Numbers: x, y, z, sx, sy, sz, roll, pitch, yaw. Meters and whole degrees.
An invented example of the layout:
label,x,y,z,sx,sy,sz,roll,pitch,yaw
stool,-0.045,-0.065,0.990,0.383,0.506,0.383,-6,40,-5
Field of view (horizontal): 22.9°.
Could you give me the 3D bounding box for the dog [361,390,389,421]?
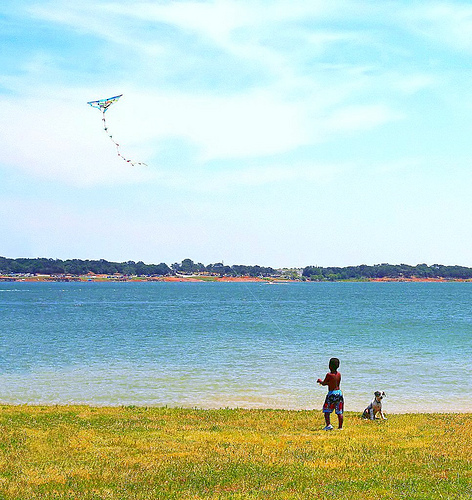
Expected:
label,x,y,z,sx,sy,sz,roll,pitch,yaw
dog,6.417,7.167,55.162,1.279,1.371,2.069,1,0,6
